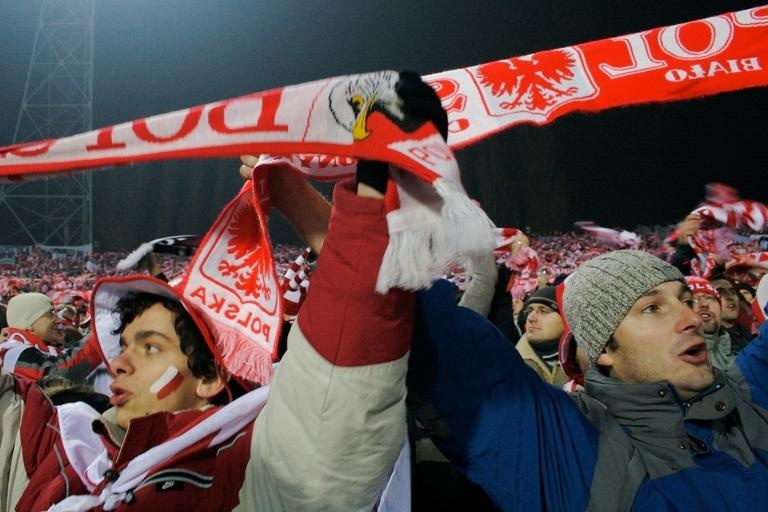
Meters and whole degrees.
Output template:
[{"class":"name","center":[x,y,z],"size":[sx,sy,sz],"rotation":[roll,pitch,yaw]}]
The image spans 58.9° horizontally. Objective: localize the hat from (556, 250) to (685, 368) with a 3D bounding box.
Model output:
[{"class":"hat","center":[1.243,0.228,3.608],"size":[0.595,0.501,0.490],"rotation":[-43,-27,23]}]

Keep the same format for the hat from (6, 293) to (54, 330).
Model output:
[{"class":"hat","center":[-2.631,0.403,4.957],"size":[0.283,0.230,0.222],"rotation":[-23,6,-10]}]
